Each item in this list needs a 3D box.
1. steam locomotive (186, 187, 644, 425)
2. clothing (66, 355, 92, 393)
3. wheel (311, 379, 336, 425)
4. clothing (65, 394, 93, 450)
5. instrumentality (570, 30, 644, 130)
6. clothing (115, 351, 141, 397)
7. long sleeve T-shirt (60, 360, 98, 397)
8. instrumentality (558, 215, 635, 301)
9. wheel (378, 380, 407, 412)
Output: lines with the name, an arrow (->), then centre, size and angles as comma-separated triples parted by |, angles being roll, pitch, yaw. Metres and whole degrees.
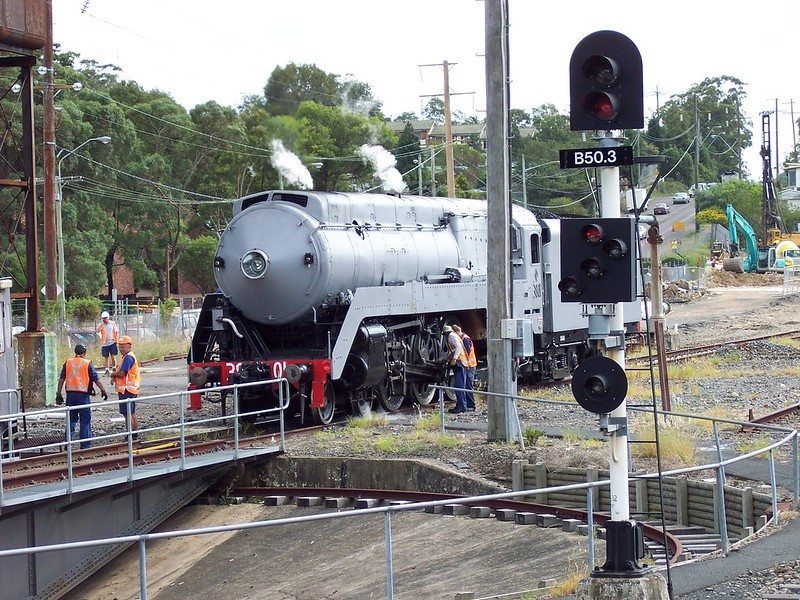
steam locomotive -> 1.625, -0.088, 27.635 | 4.055, 6.016, 17.819 | -1, 1, 36
clothing -> -6.154, 1.420, 18.173 | 0.541, 0.866, 0.416 | 1, -11, -2
wheel -> -1.712, 2.199, 20.938 | 0.319, 1.083, 0.910 | 1, 9, 13
clothing -> -6.179, 2.239, 18.197 | 0.506, 1.377, 0.344 | 1, -5, 5
instrumentality -> 2.156, -2.304, 9.980 | 0.712, 1.109, 0.527 | 2, 19, 19
clothing -> -5.527, 1.535, 19.381 | 0.478, 0.972, 0.796 | 8, -12, -5
long sleeve T-shirt -> -6.188, 1.401, 18.329 | 0.676, 0.788, 0.420 | 5, -1, -7
instrumentality -> 2.058, -0.429, 9.818 | 0.748, 0.982, 0.467 | 0, -2, 18
wheel -> -0.213, 2.261, 22.883 | 0.300, 0.889, 0.740 | 0, -6, 29
